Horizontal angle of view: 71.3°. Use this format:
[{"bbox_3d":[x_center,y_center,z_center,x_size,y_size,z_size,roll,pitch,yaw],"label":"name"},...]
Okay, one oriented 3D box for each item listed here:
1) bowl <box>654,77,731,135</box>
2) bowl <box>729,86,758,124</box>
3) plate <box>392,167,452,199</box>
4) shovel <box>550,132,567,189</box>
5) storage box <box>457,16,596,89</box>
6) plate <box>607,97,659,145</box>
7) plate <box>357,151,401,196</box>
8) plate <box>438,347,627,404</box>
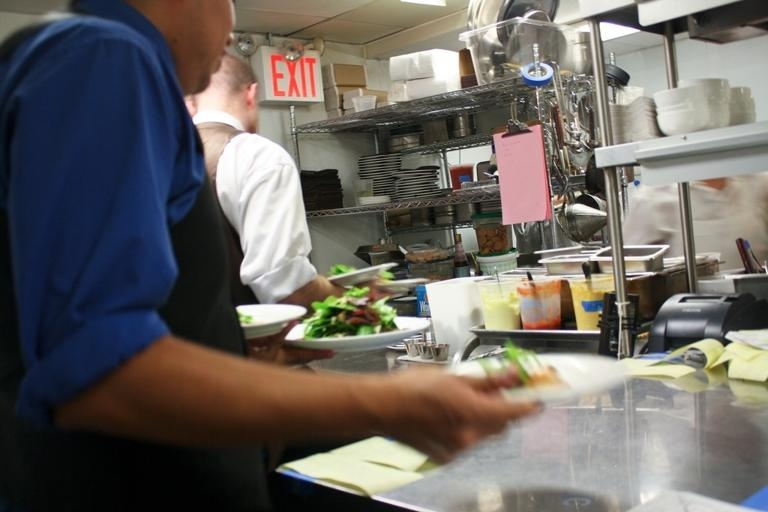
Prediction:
[{"bbox_3d":[0.693,-0.335,1.197,0.145,0.112,0.071,-7,9,25],"label":"bowl"},{"bbox_3d":[0.823,-0.348,1.232,0.047,0.097,0.344,-6,8,35],"label":"bowl"},{"bbox_3d":[0.324,-0.580,4.274,0.329,0.170,0.311,-5,4,-21],"label":"plate"},{"bbox_3d":[0.622,-0.339,1.924,0.047,0.215,0.158,-9,7,15],"label":"shovel"},{"bbox_3d":[0.624,-0.875,2.371,0.409,0.194,0.540,-11,13,-20],"label":"storage box"},{"bbox_3d":[0.613,-0.325,1.285,0.085,0.100,0.120,-11,7,-3],"label":"plate"},{"bbox_3d":[-0.041,-0.690,4.553,0.383,0.337,0.363,-1,2,-5],"label":"plate"},{"bbox_3d":[0.264,0.195,0.873,0.176,0.017,0.172,-6,3,-38],"label":"plate"}]
